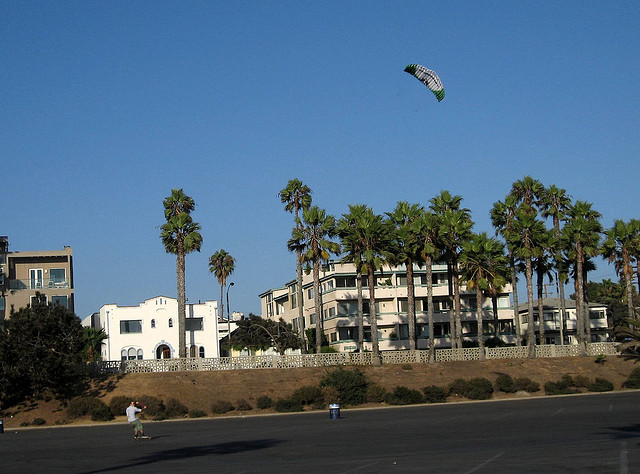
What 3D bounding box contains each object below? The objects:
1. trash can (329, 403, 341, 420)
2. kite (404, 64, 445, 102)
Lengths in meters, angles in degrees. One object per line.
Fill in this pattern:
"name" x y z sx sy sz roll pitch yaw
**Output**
"trash can" 0.997 11.687 52.019 0.567 1.039 0.921 -5 -10 4
"kite" 8.374 -13.002 62.705 4.262 1.116 3.440 25 9 -46
